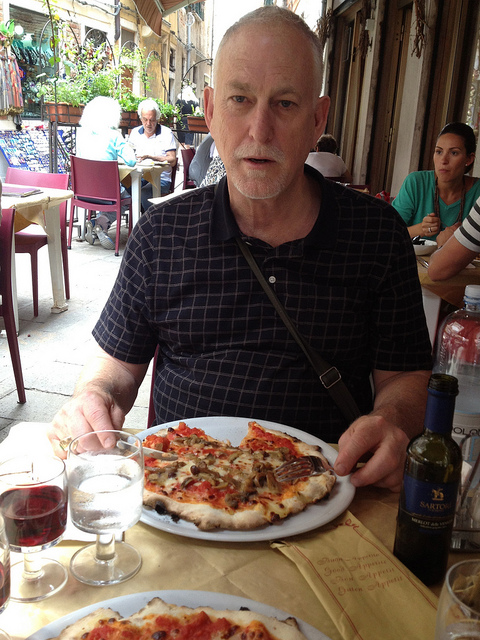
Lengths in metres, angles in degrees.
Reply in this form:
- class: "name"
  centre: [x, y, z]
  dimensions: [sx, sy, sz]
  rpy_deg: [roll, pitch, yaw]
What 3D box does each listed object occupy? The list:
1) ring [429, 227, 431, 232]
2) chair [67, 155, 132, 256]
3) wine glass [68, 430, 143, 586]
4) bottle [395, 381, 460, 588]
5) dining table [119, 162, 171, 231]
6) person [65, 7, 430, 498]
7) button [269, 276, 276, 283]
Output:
- class: "ring"
  centre: [1.385, -0.658, 3.608]
  dimensions: [0.013, 0.032, 0.005]
  rpy_deg: [4, 16, 9]
- class: "chair"
  centre: [-2.082, -1.779, 7.414]
  dimensions: [0.878, 1.271, 0.863]
  rpy_deg: [16, 26, 19]
- class: "wine glass"
  centre: [-0.202, 0.272, 0.734]
  dimensions: [0.110, 0.186, 0.109]
  rpy_deg: [8, 11, 30]
- class: "bottle"
  centre: [0.267, 0.276, 0.716]
  dimensions: [0.066, 0.237, 0.063]
  rpy_deg: [1, 16, 0]
- class: "dining table"
  centre: [-1.461, -2.074, 7.853]
  dimensions: [0.764, 0.679, 0.812]
  rpy_deg: [12, 22, 40]
- class: "person"
  centre: [0.068, -0.247, 1.445]
  dimensions: [1.064, 1.197, 0.500]
  rpy_deg: [1, 16, 1]
- class: "button"
  centre: [0.095, -0.121, 1.458]
  dimensions: [0.019, 0.019, 0.005]
  rpy_deg: [-3, -2, 4]
